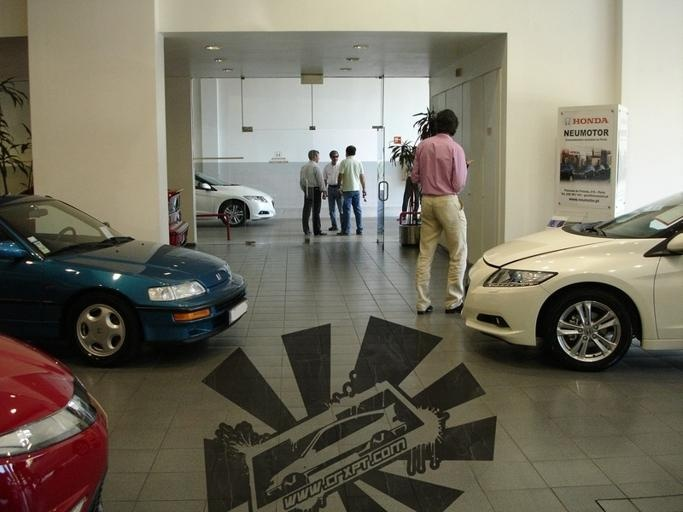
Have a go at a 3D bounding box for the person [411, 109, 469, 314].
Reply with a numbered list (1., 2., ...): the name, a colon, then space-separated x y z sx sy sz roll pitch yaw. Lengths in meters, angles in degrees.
1. person: 1.196 -0.367 6.118 0.657 2.138 0.344 1 9 8

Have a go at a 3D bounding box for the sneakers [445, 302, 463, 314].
1. sneakers: 1.398 0.652 6.171 0.248 0.162 0.099 2 2 -15

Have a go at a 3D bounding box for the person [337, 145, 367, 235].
1. person: 0.269 -1.614 12.478 0.685 2.224 0.510 3 9 23

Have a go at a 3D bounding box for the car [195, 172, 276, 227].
1. car: -2.602 -1.311 12.364 2.011 0.759 0.981 -1 6 -1

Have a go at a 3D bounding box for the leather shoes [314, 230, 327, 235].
1. leather shoes: -0.548 -0.605 12.811 0.336 0.160 0.117 -3 8 -17

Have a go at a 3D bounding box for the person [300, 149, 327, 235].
1. person: -0.697 -1.537 12.367 0.658 2.142 0.556 -4 9 -24

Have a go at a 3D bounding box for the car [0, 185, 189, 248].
1. car: -4.142 -0.629 9.422 2.343 1.093 1.556 4 8 -1
